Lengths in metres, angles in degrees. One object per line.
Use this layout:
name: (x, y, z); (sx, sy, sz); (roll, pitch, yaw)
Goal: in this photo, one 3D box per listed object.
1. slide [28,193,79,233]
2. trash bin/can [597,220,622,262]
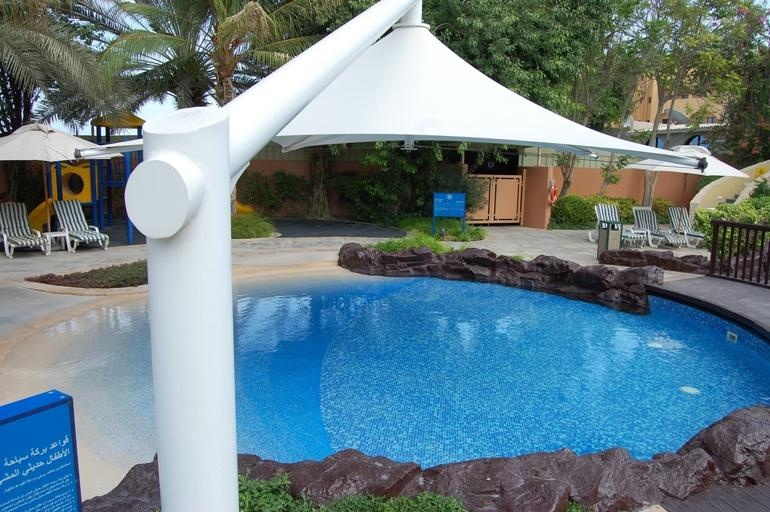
slide: (-10.283, -1.305, 15.790); (0.725, 1.686, 0.829); (9, 7, -18)
trash bin/can: (6.812, -0.471, 15.269); (0.680, 1.122, 0.667); (-15, 15, -25)
